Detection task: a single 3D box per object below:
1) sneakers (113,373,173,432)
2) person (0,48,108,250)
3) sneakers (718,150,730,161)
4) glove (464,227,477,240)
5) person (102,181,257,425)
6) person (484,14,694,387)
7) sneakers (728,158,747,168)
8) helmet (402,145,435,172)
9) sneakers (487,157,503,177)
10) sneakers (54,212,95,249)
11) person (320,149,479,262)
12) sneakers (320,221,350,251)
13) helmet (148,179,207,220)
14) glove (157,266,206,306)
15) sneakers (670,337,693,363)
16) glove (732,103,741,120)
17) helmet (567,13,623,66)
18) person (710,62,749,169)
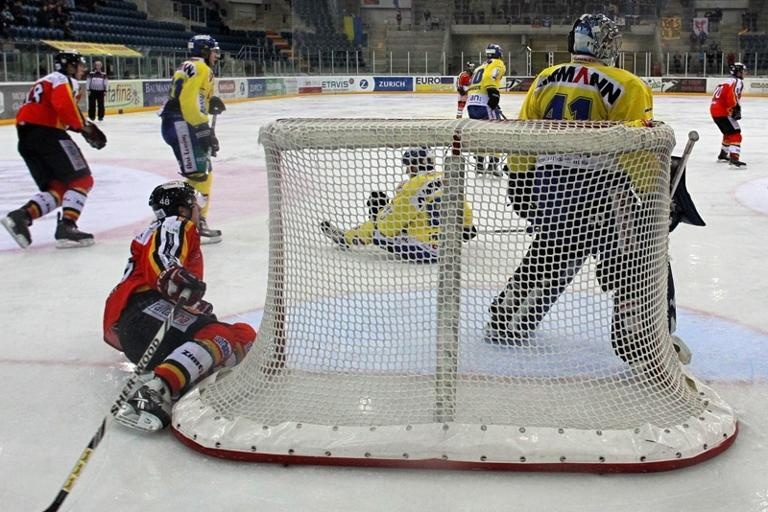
[{"bbox_3d":[-1.135,0.674,3.226,0.264,0.102,0.184,20,-1,-11],"label":"sneakers"},{"bbox_3d":[-2.733,-0.779,5.881,0.833,1.386,0.522,-10,22,-20],"label":"person"},{"bbox_3d":[4.913,-1.442,10.250,0.132,0.201,0.241,6,21,22],"label":"sneakers"},{"bbox_3d":[0.414,-0.114,3.413,0.060,0.069,0.075,-3,-8,19],"label":"glove"},{"bbox_3d":[-1.147,0.266,4.007,0.896,0.753,1.434,13,49,-23],"label":"person"},{"bbox_3d":[0.997,-0.311,3.403,0.868,1.558,1.143,5,21,18],"label":"person"},{"bbox_3d":[4.945,-1.298,9.890,0.211,0.135,0.259,8,21,25],"label":"sneakers"},{"bbox_3d":[0.169,-0.461,3.365,0.110,0.099,0.089,-13,-14,32],"label":"helmet"},{"bbox_3d":[0.494,-0.403,3.168,0.078,0.118,0.070,-1,8,8],"label":"sneakers"},{"bbox_3d":[-2.617,-0.221,6.021,0.317,0.280,0.149,-4,3,-44],"label":"sneakers"},{"bbox_3d":[-0.009,-0.289,3.613,0.577,0.668,0.811,-2,20,1],"label":"person"},{"bbox_3d":[-0.247,-0.100,3.530,0.156,0.115,0.500,10,0,-1],"label":"sneakers"},{"bbox_3d":[-1.137,-0.291,3.904,0.265,0.224,0.200,-19,14,-22],"label":"helmet"},{"bbox_3d":[-0.970,0.137,3.475,0.221,0.159,0.096,31,11,8],"label":"glove"},{"bbox_3d":[1.563,0.483,3.716,0.044,0.157,0.116,-18,16,-34],"label":"sneakers"},{"bbox_3d":[5.046,-2.047,10.158,0.091,0.215,0.203,11,24,32],"label":"glove"},{"bbox_3d":[1.097,-1.133,3.756,0.300,0.277,0.231,3,15,1],"label":"helmet"},{"bbox_3d":[5.025,-2.020,10.274,0.538,1.388,1.492,7,22,23],"label":"person"}]
